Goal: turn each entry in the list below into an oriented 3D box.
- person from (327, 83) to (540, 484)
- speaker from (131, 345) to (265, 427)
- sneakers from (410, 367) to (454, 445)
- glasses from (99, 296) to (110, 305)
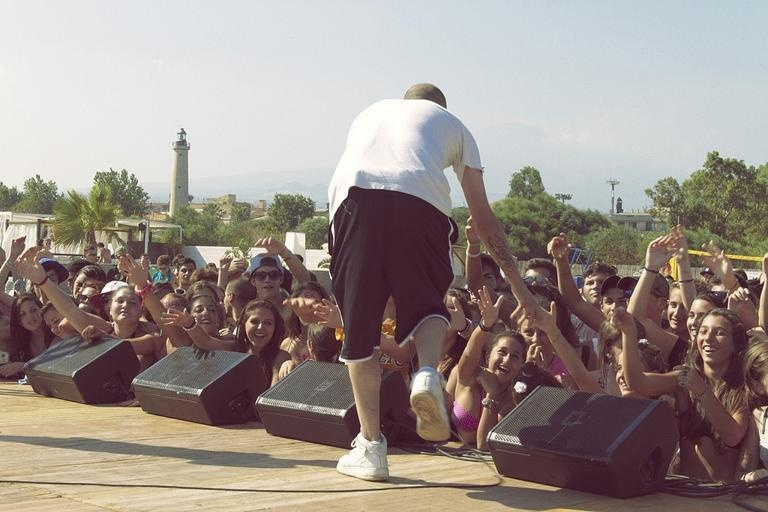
[{"bbox_3d":[0.135,0.113,3.941,1.051,1.992,0.714,2,-1,10],"label":"person"},{"bbox_3d":[-1.468,1.047,5.235,0.881,0.498,0.646,-2,1,44],"label":"speaker"},{"bbox_3d":[0.293,0.899,3.670,0.173,0.468,0.210,-6,19,12],"label":"sneakers"},{"bbox_3d":[-3.258,0.509,7.411,0.118,0.125,0.105,1,-1,-28],"label":"glasses"}]
